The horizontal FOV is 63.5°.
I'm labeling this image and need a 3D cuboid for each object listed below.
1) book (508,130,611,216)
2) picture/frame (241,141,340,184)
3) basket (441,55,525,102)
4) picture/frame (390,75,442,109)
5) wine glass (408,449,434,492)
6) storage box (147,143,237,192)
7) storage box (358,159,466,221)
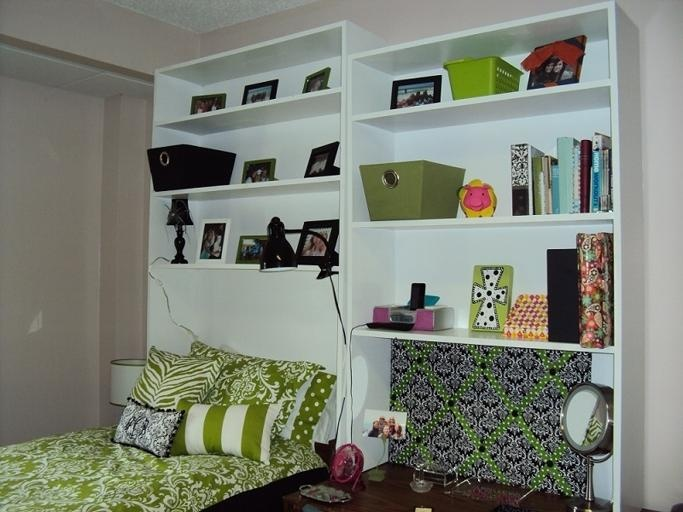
[{"bbox_3d":[0.932,-0.287,2.397,0.515,0.453,0.311,-1,-2,36],"label":"book"},{"bbox_3d":[-0.287,-0.539,3.186,0.771,0.218,0.158,6,4,44],"label":"picture/frame"},{"bbox_3d":[0.654,-0.758,2.507,0.263,0.128,0.211,0,-3,31],"label":"basket"},{"bbox_3d":[0.379,-0.803,2.721,0.250,0.189,0.011,-4,-16,29],"label":"picture/frame"},{"bbox_3d":[0.376,1.014,2.570,0.103,0.104,0.103,-1,13,-3],"label":"wine glass"},{"bbox_3d":[-0.907,-0.488,3.393,0.314,0.193,0.388,0,1,37],"label":"storage box"},{"bbox_3d":[0.338,-0.254,2.629,0.311,0.230,0.371,-1,-1,36],"label":"storage box"}]
